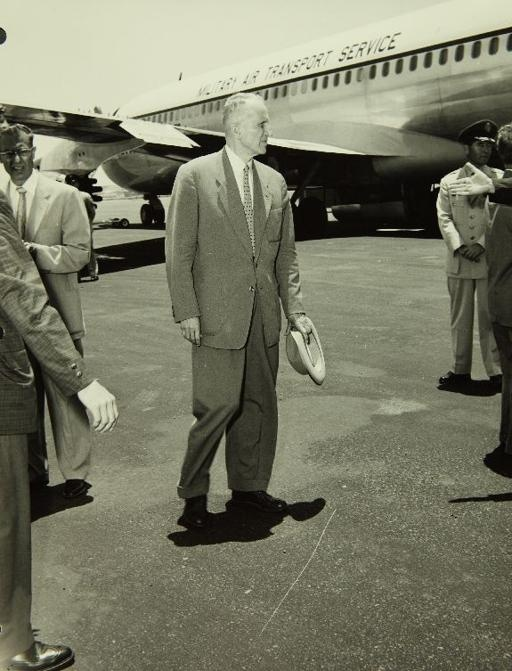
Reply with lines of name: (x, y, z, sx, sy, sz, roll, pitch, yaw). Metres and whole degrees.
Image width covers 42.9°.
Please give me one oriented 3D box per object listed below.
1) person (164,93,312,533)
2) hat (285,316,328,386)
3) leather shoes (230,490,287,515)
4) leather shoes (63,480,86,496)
person: (-0.079, -0.117, 3.018, 0.700, 1.960, 0.401, -6, 12, -20)
hat: (0.200, 0.102, 3.077, 0.124, 0.290, 0.309, -30, -30, 6)
leather shoes: (0.016, 0.797, 3.191, 0.264, 0.117, 0.104, 0, -1, 15)
leather shoes: (-0.948, 0.792, 3.385, 0.056, 0.054, 0.131, 3, 4, 11)
